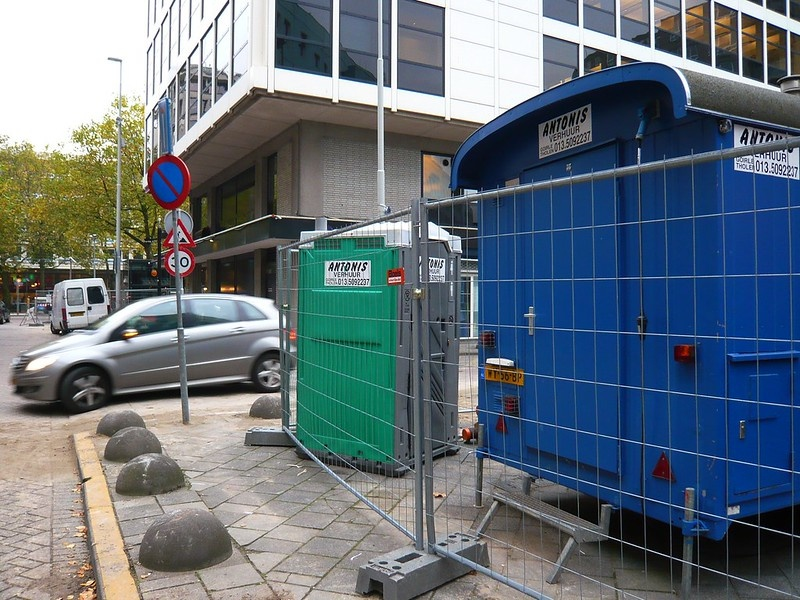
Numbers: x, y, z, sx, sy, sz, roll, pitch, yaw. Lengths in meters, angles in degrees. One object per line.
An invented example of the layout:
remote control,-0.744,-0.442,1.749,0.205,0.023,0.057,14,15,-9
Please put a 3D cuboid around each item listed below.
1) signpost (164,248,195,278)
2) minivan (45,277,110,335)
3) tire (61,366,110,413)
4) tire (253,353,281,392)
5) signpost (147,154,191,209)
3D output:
signpost,-3.290,-0.581,10.445,0.376,0.415,1.329,-4,4,-18
minivan,-12.924,0.249,27.977,1.783,2.160,3.665,-8,5,-35
tire,-4.886,1.343,10.823,0.536,0.591,0.196,21,-10,-30
tire,-2.247,1.279,12.476,0.619,0.706,0.241,2,8,16
signpost,-3.072,-1.591,9.296,0.498,0.707,0.422,-4,4,-19
